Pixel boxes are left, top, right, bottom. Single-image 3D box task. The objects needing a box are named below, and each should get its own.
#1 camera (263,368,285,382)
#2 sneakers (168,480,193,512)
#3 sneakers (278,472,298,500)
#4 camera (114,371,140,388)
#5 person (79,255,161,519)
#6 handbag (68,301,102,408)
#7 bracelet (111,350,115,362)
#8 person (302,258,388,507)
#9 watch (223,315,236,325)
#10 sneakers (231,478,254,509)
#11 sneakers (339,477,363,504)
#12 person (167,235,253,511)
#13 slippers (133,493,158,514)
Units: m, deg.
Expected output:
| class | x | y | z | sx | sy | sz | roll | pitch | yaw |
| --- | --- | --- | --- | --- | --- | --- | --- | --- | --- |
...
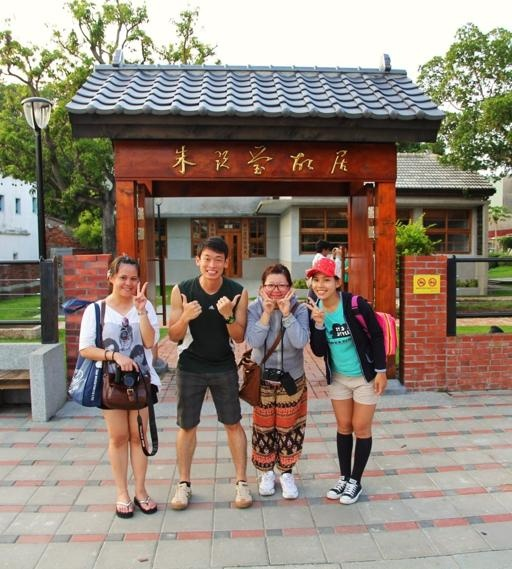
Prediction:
| class | x | y | z | sx | sy | sz | roll | pitch | yaw |
| --- | --- | --- | --- | --- | --- | --- | --- | --- | --- |
| camera | 0.114 | 0.597 | 3.511 | 0.110 | 0.083 | 0.079 | 4 | -14 | 35 |
| sneakers | -0.497 | 1.402 | 3.545 | 0.078 | 0.083 | 0.216 | 0 | -3 | 1 |
| sneakers | 0.226 | 1.378 | 3.672 | 0.082 | 0.074 | 0.191 | 0 | -2 | -4 |
| camera | -0.782 | 0.574 | 3.249 | 0.109 | 0.099 | 0.103 | 2 | 1 | -10 |
| person | -0.858 | 0.650 | 3.402 | 0.488 | 1.644 | 0.507 | -1 | 5 | -10 |
| handbag | -1.058 | 0.454 | 3.347 | 0.273 | 0.664 | 0.203 | 0 | 5 | 6 |
| bracelet | -0.870 | 0.442 | 3.280 | 0.020 | 0.067 | 0.050 | -2 | 5 | -17 |
| person | 0.601 | 0.635 | 3.607 | 0.511 | 1.624 | 0.313 | 0 | 5 | 4 |
| watch | -0.170 | 0.226 | 3.430 | 0.062 | 0.041 | 0.073 | -1 | 6 | -6 |
| sneakers | -0.092 | 1.411 | 3.610 | 0.139 | 0.143 | 0.376 | 0 | -6 | -1 |
| sneakers | 0.616 | 1.384 | 3.574 | 0.078 | 0.094 | 0.228 | -2 | -12 | 17 |
| person | -0.298 | 0.583 | 3.513 | 0.540 | 1.770 | 0.369 | -1 | 5 | -3 |
| slippers | -0.694 | 1.406 | 3.453 | 0.075 | 0.061 | 0.159 | 1 | 0 | -38 |
